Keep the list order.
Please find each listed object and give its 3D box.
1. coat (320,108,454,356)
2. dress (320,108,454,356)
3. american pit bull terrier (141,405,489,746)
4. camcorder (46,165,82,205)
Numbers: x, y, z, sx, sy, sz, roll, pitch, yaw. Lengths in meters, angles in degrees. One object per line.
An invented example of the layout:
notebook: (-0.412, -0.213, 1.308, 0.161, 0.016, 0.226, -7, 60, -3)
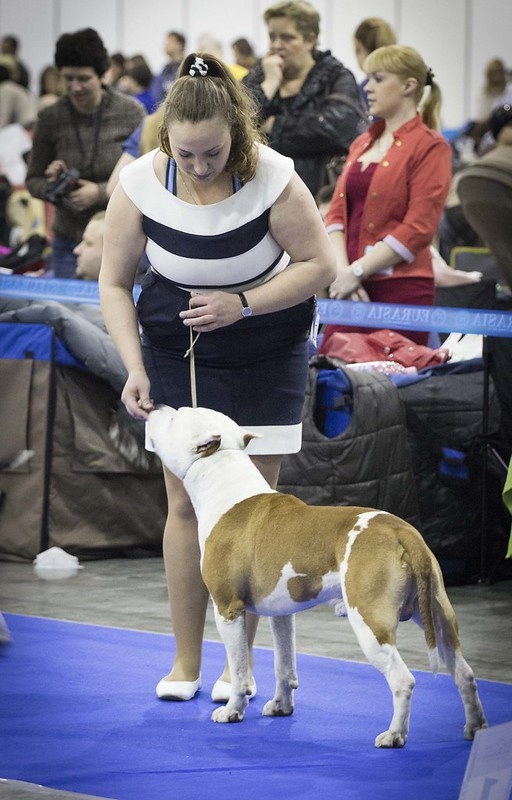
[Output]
coat: (0.594, -0.572, 4.094, 0.514, 1.464, 0.463, 17, 28, 42)
dress: (0.598, -0.575, 4.115, 0.556, 1.442, 0.467, 18, 31, 38)
american pit bull terrier: (0.068, 0.357, 1.867, 0.845, 0.598, 0.243, 1, -2, 43)
camcorder: (-1.128, -1.236, 4.947, 0.228, 0.138, 0.102, -34, 17, -6)
